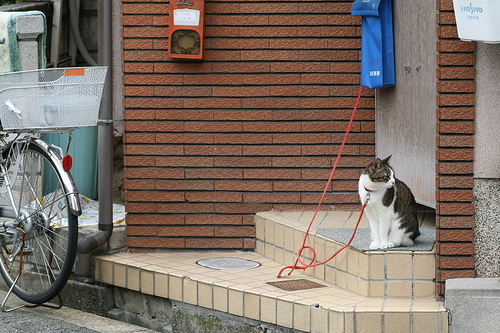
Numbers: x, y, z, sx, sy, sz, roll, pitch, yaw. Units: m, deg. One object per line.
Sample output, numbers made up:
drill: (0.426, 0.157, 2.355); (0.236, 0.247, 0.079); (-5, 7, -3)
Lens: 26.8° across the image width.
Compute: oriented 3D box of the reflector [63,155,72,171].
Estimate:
reflector: (-1.852, -0.035, 10.631); (0.066, 0.159, 0.162); (5, 2, -1)

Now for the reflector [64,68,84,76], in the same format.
reflector: (-1.751, -0.934, 10.434); (0.194, 0.079, 0.027); (4, 3, -6)

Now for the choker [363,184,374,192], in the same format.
choker: (1.140, 0.205, 10.017); (0.079, 0.052, 0.076); (1, 1, -32)

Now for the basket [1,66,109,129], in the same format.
basket: (-1.970, -0.683, 10.570); (0.952, 0.412, 0.617); (-1, -2, 4)

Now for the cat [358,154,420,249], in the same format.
cat: (1.362, 0.350, 10.179); (0.623, 0.657, 0.346); (3, 3, -35)
